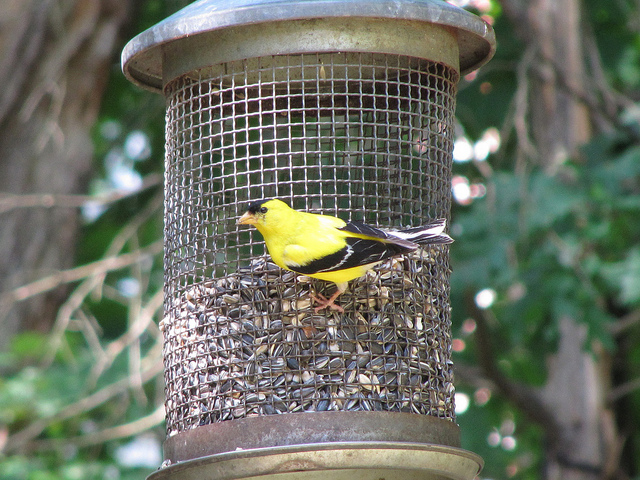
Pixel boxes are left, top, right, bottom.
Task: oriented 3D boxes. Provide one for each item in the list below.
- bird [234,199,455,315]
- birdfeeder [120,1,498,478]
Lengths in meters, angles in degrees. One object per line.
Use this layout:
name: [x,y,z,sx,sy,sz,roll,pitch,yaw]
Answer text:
bird: [-0.005,0.126,12.845,1.336,0.235,0.665,15,82,1]
birdfeeder: [-0.014,0.175,13.603,2.312,2.489,4.412,1,92,19]
